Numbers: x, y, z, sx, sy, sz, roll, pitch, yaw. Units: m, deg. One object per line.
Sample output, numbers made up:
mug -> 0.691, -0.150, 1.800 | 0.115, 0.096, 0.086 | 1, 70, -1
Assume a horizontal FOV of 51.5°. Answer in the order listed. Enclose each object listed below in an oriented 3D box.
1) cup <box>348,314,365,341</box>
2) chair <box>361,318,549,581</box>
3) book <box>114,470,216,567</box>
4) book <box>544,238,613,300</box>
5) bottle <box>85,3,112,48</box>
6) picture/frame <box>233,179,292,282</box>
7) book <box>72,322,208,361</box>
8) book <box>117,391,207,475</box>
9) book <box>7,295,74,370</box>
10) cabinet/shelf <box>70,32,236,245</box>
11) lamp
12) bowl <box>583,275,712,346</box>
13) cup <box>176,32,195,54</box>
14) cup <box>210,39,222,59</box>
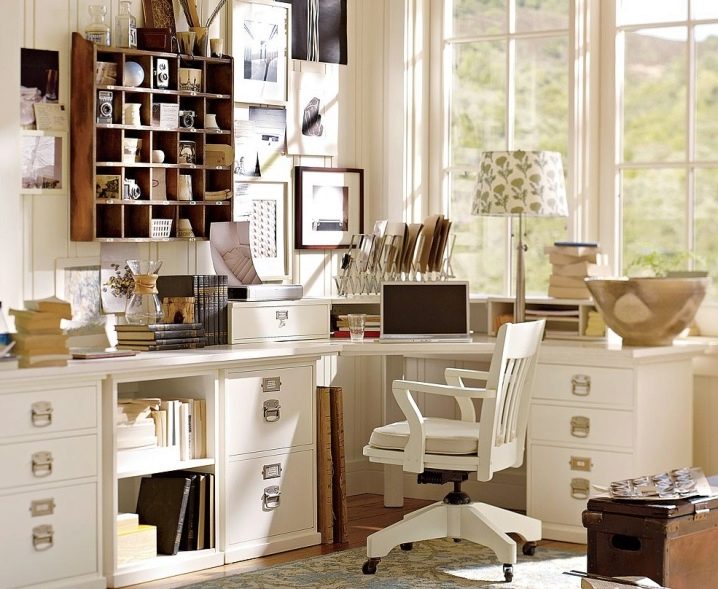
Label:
cup -> -0.008, 0.163, 3.677 | 0.090, 0.151, 0.108 | 0, -1, 0
chair -> 0.433, 0.569, 3.553 | 0.863, 1.398, 0.912 | 1, 0, 19
book -> -0.771, 0.940, 3.198 | 0.317, 0.375, 0.079 | -1, -5, 32
book -> 1.118, -0.131, 3.788 | 0.251, 0.344, 0.323 | 3, 4, 35
bottle -> -1.155, -1.205, 3.306 | 0.106, 0.254, 0.193 | -1, -1, -19
picture/frame -> -0.517, -0.341, 3.924 | 0.051, 0.761, 0.502 | 1, 1, 40
book -> -0.943, 0.193, 3.196 | 0.297, 0.131, 0.616 | -1, 0, 40
book -> -0.814, 0.586, 3.112 | 0.388, 0.298, 0.149 | -1, 0, -30
book -> -1.181, 0.155, 2.791 | 0.197, 0.329, 0.298 | 2, -4, -35
cabinet/shelf -> -0.975, -0.717, 3.436 | 0.238, 1.205, 0.961 | -1, 0, 33
lamp -> 0.833, -0.297, 3.862 | 0.466, 0.874, 0.452 | -1, -1, 12
bowl -> 1.357, 0.055, 3.433 | 0.357, 0.272, 0.390 | -10, 1, 0
cup -> -0.823, -1.203, 3.610 | 0.084, 0.113, 0.092 | 2, 3, 0
cup -> -0.705, -1.211, 3.693 | 0.073, 0.095, 0.074 | 1, 5, 0
